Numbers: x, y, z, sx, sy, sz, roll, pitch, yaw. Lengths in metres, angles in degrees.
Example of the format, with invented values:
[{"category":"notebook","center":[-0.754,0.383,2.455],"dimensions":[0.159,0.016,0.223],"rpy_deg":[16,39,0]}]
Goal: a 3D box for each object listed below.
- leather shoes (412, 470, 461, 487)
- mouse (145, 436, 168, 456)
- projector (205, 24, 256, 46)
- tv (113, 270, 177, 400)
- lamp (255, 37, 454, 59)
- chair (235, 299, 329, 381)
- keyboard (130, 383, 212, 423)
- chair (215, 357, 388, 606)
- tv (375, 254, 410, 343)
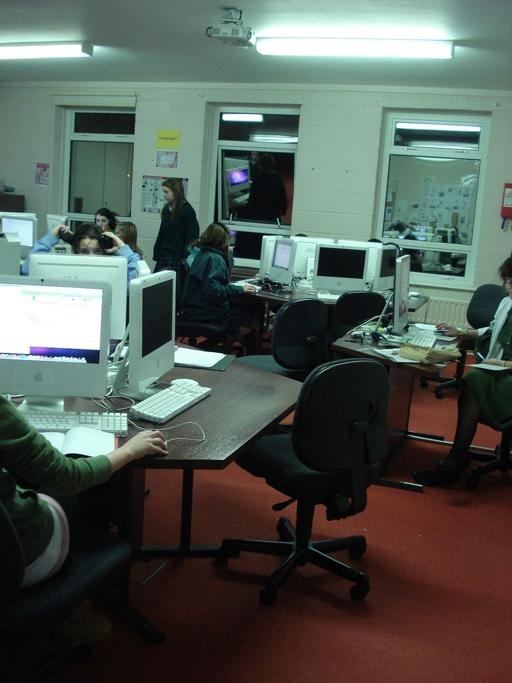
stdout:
[{"category":"leather shoes","center":[0.887,0.667,2.803],"dimensions":[0.244,0.089,0.065],"rpy_deg":[0,12,-20]},{"category":"mouse","center":[-0.238,0.256,1.401],"dimensions":[0.040,0.043,0.085],"rpy_deg":[-6,0,10]},{"category":"projector","center":[-0.206,-2.301,4.290],"dimensions":[0.247,0.079,0.233],"rpy_deg":[8,21,16]},{"category":"tv","center":[-0.362,-0.015,1.854],"dimensions":[0.139,0.351,0.371],"rpy_deg":[7,18,11]},{"category":"lamp","center":[0.796,-2.308,4.552],"dimensions":[1.966,0.129,0.277],"rpy_deg":[7,19,17]},{"category":"chair","center":[0.230,-0.056,3.422],"dimensions":[0.438,0.553,0.514],"rpy_deg":[-10,16,-37]},{"category":"keyboard","center":[-0.271,0.187,1.756],"dimensions":[0.083,0.033,0.249],"rpy_deg":[20,18,11]},{"category":"chair","center":[0.211,0.422,1.914],"dimensions":[0.497,0.821,0.421],"rpy_deg":[-3,14,-32]},{"category":"tv","center":[0.820,-0.260,3.462],"dimensions":[0.235,0.543,0.575],"rpy_deg":[4,21,15]}]
